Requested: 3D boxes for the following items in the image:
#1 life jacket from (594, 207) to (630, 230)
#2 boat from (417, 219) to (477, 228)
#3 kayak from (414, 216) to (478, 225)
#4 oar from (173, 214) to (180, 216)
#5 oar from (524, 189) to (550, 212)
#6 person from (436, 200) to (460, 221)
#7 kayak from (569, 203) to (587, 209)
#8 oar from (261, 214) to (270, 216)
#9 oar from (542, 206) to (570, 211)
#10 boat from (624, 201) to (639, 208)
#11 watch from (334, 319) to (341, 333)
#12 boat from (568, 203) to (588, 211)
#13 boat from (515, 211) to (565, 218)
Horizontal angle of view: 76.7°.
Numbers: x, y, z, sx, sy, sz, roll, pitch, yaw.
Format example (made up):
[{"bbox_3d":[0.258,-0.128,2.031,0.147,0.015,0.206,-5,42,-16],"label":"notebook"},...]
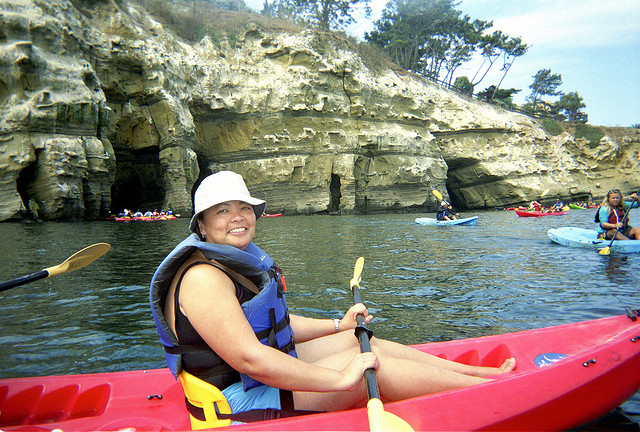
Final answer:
[{"bbox_3d":[6.958,0.060,9.602,0.576,0.579,0.661,1,-1,-32],"label":"life jacket"},{"bbox_3d":[5.084,0.259,16.137,2.102,0.400,0.628,5,8,41],"label":"boat"},{"bbox_3d":[4.946,0.252,16.257,2.666,0.431,0.787,-3,0,37],"label":"kayak"},{"bbox_3d":[-7.278,-0.045,20.644,0.130,0.072,0.240,-2,2,29],"label":"oar"},{"bbox_3d":[14.298,-1.086,26.646,2.346,0.237,0.173,-42,-19,11],"label":"oar"},{"bbox_3d":[6.473,-0.299,20.404,1.111,0.750,1.461,-3,-27,16],"label":"person"},{"bbox_3d":[16.691,-0.602,26.056,1.119,0.176,0.250,12,-7,-19],"label":"kayak"},{"bbox_3d":[-2.127,-0.040,16.159,0.375,0.080,0.337,1,-3,-2],"label":"oar"},{"bbox_3d":[14.450,-0.462,24.510,2.097,0.270,0.406,-2,-3,-11],"label":"oar"},{"bbox_3d":[7.287,-0.275,9.403,0.384,0.107,0.376,6,0,-43],"label":"boat"},{"bbox_3d":[0.158,0.963,3.535,0.060,0.095,0.103,2,16,5],"label":"watch"},{"bbox_3d":[16.785,-0.574,26.129,0.873,0.369,0.674,-1,2,40],"label":"boat"},{"bbox_3d":[11.985,-0.167,21.321,3.319,0.322,1.127,-3,2,-22],"label":"boat"}]
